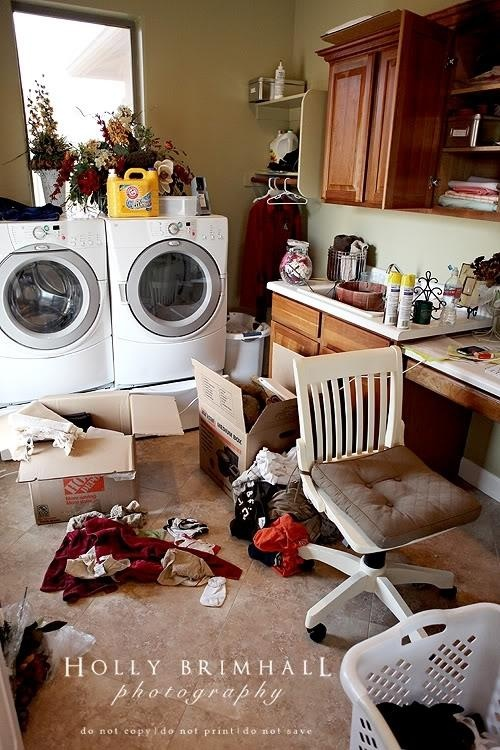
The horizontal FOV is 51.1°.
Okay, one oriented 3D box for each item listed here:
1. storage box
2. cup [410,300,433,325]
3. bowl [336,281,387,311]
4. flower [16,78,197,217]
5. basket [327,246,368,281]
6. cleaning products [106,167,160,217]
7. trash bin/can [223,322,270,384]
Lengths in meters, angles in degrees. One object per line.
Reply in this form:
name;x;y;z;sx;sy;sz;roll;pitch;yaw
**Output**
storage box;-0.425;0.241;2.375;1.084;0.674;0.630;-4;34;-20
cup;0.711;-0.265;2.160;0.067;0.104;0.108;-17;25;-33
bowl;0.515;-0.382;2.480;0.185;0.076;0.220;-8;22;-24
flower;-0.778;-1.260;2.861;0.906;0.665;0.663;-1;21;-6
basket;0.536;-0.610;2.895;0.197;0.193;0.201;3;22;6
cleaning products;-0.582;-0.917;2.616;0.258;0.233;0.101;-6;32;-19
trash bin/can;-0.009;-0.151;3.322;0.306;0.307;0.321;-7;24;-21
